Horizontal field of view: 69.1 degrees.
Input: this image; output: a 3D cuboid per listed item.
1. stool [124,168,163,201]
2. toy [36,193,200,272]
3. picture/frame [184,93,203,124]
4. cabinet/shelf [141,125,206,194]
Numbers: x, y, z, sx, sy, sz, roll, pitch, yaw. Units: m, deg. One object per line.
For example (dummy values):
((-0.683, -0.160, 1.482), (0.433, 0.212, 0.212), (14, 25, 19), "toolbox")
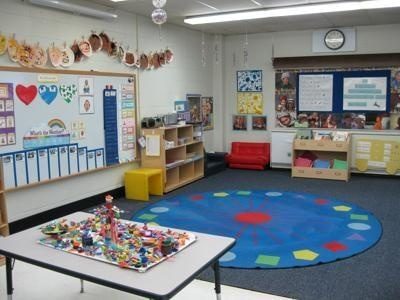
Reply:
((-1.206, 0.684, 6.297), (0.621, 0.653, 0.789), (0, 5, 20), "stool")
((-0.698, 0.732, 2.373), (0.916, 0.286, 0.648), (2, 5, 33), "toy")
((-0.182, -1.194, 8.167), (0.240, 0.757, 0.794), (2, 10, 17), "picture/frame")
((-0.681, 0.226, 6.728), (0.527, 1.224, 1.505), (0, 6, 23), "cabinet/shelf")
